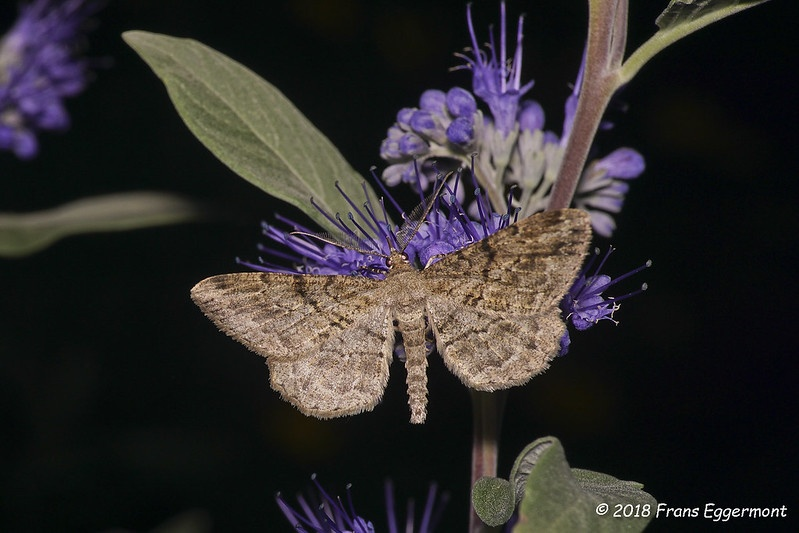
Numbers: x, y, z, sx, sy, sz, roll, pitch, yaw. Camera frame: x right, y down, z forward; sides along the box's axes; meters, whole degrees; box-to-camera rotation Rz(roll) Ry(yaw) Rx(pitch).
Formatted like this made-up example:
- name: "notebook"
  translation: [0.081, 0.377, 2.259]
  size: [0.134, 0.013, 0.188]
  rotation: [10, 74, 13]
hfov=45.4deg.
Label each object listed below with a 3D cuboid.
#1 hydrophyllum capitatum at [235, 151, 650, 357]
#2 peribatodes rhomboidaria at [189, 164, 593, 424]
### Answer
- name: "hydrophyllum capitatum"
  translation: [0.087, -0.115, 4.670]
  size: [1.204, 1.185, 0.370]
  rotation: [1, 70, 5]
- name: "peribatodes rhomboidaria"
  translation: [0.021, 0.206, 4.181]
  size: [1.695, 0.619, 0.752]
  rotation: [-10, 68, 6]
